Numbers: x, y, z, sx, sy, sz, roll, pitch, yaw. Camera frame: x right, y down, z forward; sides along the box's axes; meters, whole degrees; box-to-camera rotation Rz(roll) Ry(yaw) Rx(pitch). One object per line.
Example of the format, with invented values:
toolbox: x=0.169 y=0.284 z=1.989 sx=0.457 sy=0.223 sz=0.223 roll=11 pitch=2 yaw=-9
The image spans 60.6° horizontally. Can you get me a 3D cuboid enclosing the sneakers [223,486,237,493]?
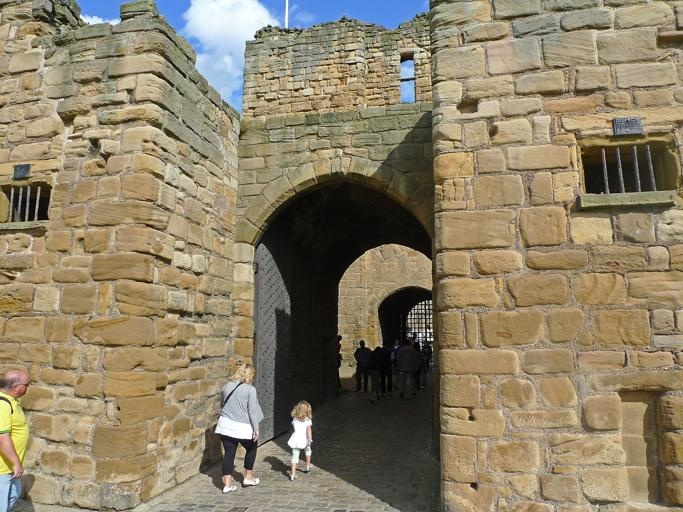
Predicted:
sneakers: x=-1.143 y=2.377 z=6.010 sx=0.055 sy=0.055 sz=0.154 roll=-2 pitch=-2 yaw=28

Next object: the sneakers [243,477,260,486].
sneakers: x=-0.953 y=2.376 z=6.162 sx=0.153 sy=0.054 sz=0.072 roll=1 pitch=-3 yaw=-26

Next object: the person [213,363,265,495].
person: x=-1.086 y=1.797 z=6.186 sx=0.472 sy=1.273 sz=0.397 roll=2 pitch=-12 yaw=-10
